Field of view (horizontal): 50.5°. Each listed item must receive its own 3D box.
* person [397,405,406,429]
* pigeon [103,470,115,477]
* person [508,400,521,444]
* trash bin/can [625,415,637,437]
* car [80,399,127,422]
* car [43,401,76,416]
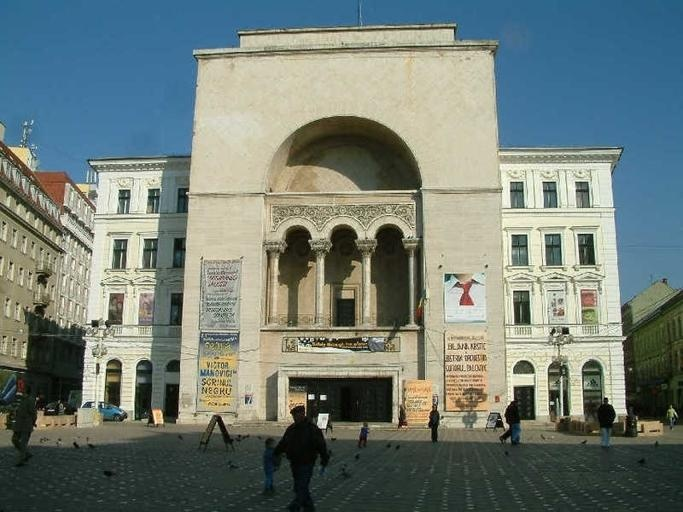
[{"bbox_3d":[4.039,10.680,47.970,0.576,1.502,0.723,-1,-15,5],"label":"person"},{"bbox_3d":[-7.450,7.007,23.157,0.338,0.137,0.321,21,-13,-27],"label":"pigeon"},{"bbox_3d":[8.128,7.860,34.025,0.446,2.023,0.910,-2,-16,11],"label":"person"},{"bbox_3d":[15.121,8.955,37.843,0.422,1.030,0.497,14,-20,-39],"label":"trash bin/can"},{"bbox_3d":[-18.131,12.118,56.125,2.830,1.666,5.052,4,-15,-12],"label":"car"},{"bbox_3d":[-22.526,12.263,58.040,2.206,1.234,7.663,6,-16,-20],"label":"car"}]
